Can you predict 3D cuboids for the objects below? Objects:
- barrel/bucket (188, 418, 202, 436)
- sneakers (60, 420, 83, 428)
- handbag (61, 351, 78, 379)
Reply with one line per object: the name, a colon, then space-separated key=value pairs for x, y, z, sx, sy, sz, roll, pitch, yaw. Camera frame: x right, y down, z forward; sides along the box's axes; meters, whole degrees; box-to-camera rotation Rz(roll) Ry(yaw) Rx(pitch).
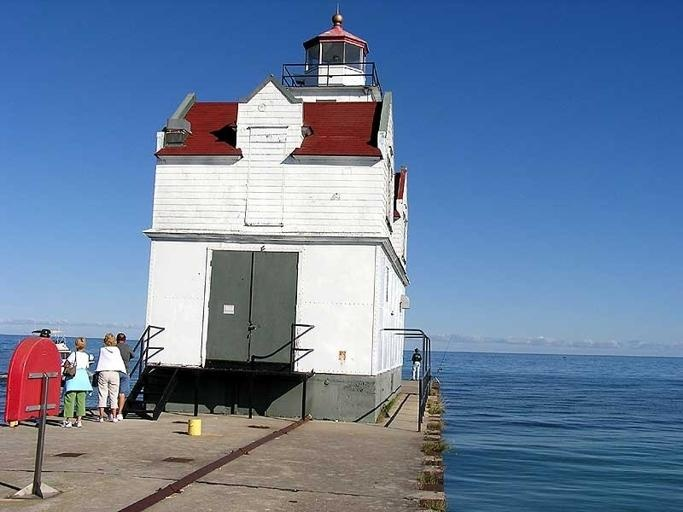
barrel/bucket: x=-3.606 y=4.263 z=19.533 sx=0.370 sy=0.406 sz=0.364 roll=-4 pitch=-9 yaw=-1
sneakers: x=-6.939 y=4.292 z=20.032 sx=0.562 sy=0.252 sz=0.228 roll=1 pitch=-6 yaw=18
handbag: x=-7.089 y=2.877 z=20.429 sx=0.338 sy=0.705 sz=0.668 roll=7 pitch=-5 yaw=-18
